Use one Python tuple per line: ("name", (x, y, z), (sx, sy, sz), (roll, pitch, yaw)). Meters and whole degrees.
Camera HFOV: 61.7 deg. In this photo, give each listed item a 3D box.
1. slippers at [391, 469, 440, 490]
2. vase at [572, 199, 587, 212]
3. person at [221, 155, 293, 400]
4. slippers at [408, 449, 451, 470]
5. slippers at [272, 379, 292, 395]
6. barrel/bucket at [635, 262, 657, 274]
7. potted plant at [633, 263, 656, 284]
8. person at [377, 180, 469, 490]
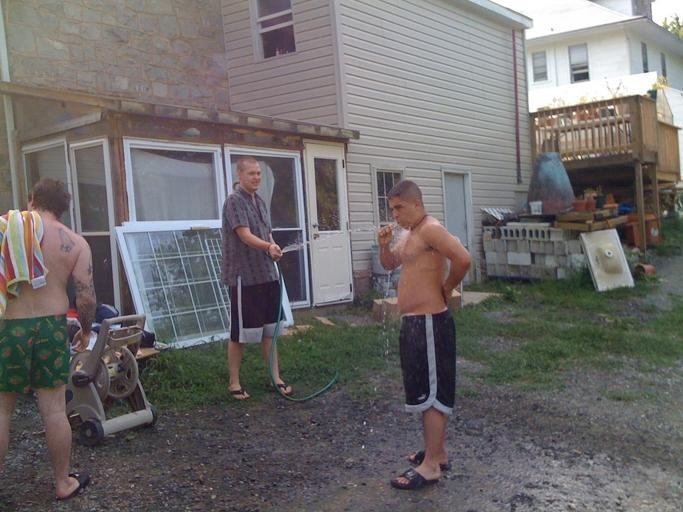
("slippers", (0.560, 1.699, 4.332), (0.287, 0.099, 0.150), (2, -2, -12))
("vase", (4.754, -1.028, 11.395), (0.233, 0.263, 0.167), (3, -19, 5))
("person", (-0.882, 0.215, 5.732), (0.650, 2.377, 0.609), (-1, 9, -4))
("slippers", (0.732, 1.654, 4.632), (0.336, 0.149, 0.139), (13, 14, 15))
("slippers", (-0.593, 1.349, 5.863), (0.121, 0.080, 0.201), (5, 4, -37))
("barrel/bucket", (5.989, 0.236, 11.182), (0.293, 0.316, 0.239), (0, 6, -39))
("potted plant", (5.846, 0.327, 11.011), (0.390, 0.423, 0.334), (-1, 1, -42))
("person", (0.607, 0.592, 4.375), (0.662, 2.272, 0.589), (5, 11, 28))
